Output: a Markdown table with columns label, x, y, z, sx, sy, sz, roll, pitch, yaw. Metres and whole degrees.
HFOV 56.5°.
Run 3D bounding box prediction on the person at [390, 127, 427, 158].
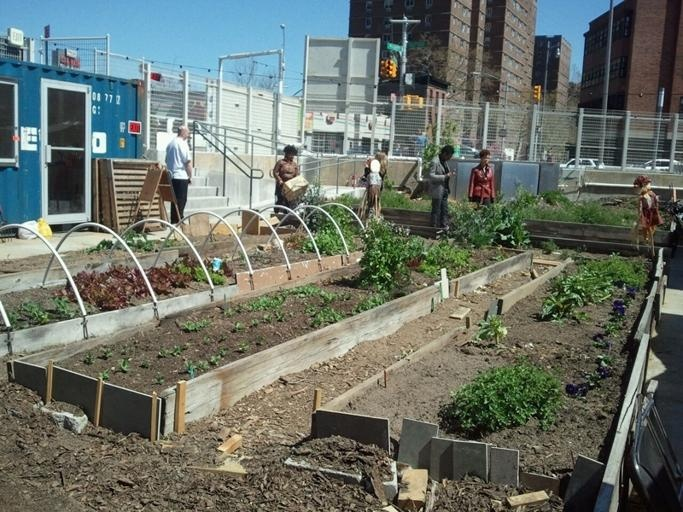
| label | x | y | z | sx | sy | sz | roll | pitch | yaw |
| --- | --- | --- | --- | --- | --- | --- | --- | --- | --- |
| person | 2.490 | -4.087 | 23.312 | 0.840 | 0.437 | 1.208 | 12 | 27 | 24 |

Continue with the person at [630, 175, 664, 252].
| label | x | y | z | sx | sy | sz | roll | pitch | yaw |
| --- | --- | --- | --- | --- | --- | --- | --- | --- | --- |
| person | 6.062 | -0.855 | 12.584 | 0.514 | 1.500 | 2.526 | 5 | 13 | 25 |

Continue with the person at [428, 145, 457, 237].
| label | x | y | z | sx | sy | sz | roll | pitch | yaw |
| --- | --- | --- | --- | --- | --- | --- | --- | --- | --- |
| person | 2.063 | -1.358 | 13.252 | 0.475 | 1.822 | 0.819 | 1 | 11 | 9 |

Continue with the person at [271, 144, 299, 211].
| label | x | y | z | sx | sy | sz | roll | pitch | yaw |
| --- | --- | --- | --- | --- | --- | --- | --- | --- | --- |
| person | -1.251 | -1.650 | 14.171 | 0.532 | 1.569 | 1.424 | -1 | 12 | -5 |

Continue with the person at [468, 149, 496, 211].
| label | x | y | z | sx | sy | sz | roll | pitch | yaw |
| --- | --- | --- | --- | --- | --- | --- | --- | --- | --- |
| person | 3.020 | -1.660 | 13.692 | 0.515 | 1.217 | 1.283 | 2 | 12 | 12 |

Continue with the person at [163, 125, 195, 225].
| label | x | y | z | sx | sy | sz | roll | pitch | yaw |
| --- | --- | --- | --- | --- | --- | --- | --- | --- | --- |
| person | -3.275 | -1.544 | 12.759 | 0.467 | 2.024 | 1.394 | -3 | 12 | -14 |
